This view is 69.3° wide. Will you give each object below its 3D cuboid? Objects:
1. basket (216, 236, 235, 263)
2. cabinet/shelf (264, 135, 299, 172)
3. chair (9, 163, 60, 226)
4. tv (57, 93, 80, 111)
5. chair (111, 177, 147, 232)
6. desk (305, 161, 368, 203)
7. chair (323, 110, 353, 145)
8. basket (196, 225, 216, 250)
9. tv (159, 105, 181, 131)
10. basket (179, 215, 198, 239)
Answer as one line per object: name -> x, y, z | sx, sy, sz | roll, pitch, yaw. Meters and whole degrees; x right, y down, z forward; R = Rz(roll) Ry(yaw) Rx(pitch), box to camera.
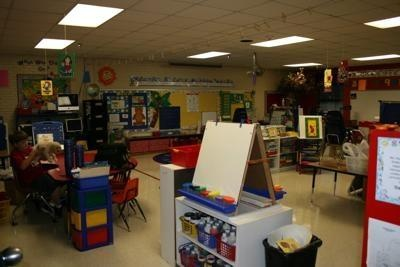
basket -> 0.334, 1.502, 3.742 | 0.203, 0.242, 0.346 | -2, 5, -29
cabinet/shelf -> 2.383, 0.562, 8.540 | 1.120, 0.962, 0.363 | -1, 0, -37
chair -> -3.386, 1.116, 5.941 | 0.769, 1.098, 0.760 | 1, -5, -17
tv -> -4.394, -1.037, 9.513 | 0.621, 0.536, 0.216 | 1, -6, -33
chair -> -1.500, 1.263, 5.663 | 0.572, 0.819, 0.635 | -8, 13, -40
desk -> 3.018, 0.861, 6.546 | 1.135, 0.584, 1.113 | -1, 4, -37
chair -> 4.247, -0.210, 9.496 | 0.859, 1.184, 1.015 | 4, 1, 41
basket -> 0.079, 1.398, 3.950 | 0.280, 0.174, 0.274 | 2, -1, -39
tv -> -1.306, -0.652, 11.808 | 1.070, 1.074, 0.100 | -1, 1, -32
basket -> -0.168, 1.324, 4.226 | 0.231, 0.271, 0.390 | 2, -3, -28
